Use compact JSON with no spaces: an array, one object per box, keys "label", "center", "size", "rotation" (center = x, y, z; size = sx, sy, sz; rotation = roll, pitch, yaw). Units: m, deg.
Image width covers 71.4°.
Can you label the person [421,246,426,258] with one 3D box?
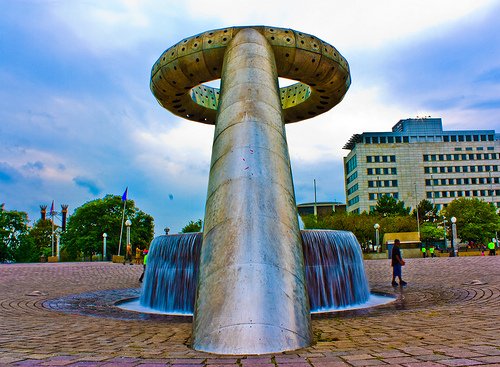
[{"label":"person","center":[17.324,6.832,34.810],"size":[0.284,1.042,1.777],"rotation":[-1,-4,21]}]

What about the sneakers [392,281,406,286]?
[{"label":"sneakers","center":[5.227,3.503,12.200],"size":[0.501,0.217,0.192],"rotation":[-2,-16,0]}]
